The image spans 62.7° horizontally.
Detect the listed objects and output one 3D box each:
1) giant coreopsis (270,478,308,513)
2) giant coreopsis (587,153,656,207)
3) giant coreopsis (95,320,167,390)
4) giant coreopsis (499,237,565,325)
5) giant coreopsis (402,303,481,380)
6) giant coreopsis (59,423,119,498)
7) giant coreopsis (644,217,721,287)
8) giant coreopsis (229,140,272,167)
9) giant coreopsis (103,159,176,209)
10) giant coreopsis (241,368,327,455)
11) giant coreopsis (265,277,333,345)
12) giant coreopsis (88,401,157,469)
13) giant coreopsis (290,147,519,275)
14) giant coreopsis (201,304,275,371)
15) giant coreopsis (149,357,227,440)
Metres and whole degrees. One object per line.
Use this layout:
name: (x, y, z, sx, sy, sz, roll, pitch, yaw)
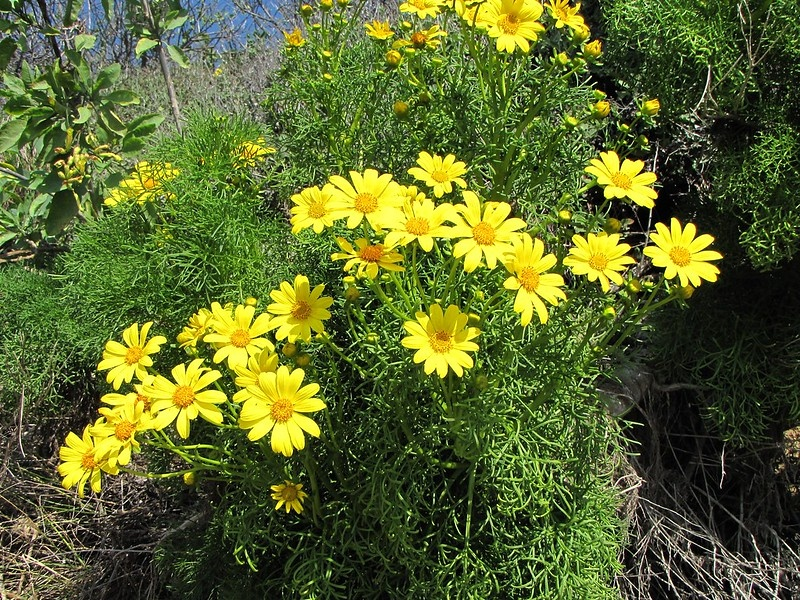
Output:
giant coreopsis: (-0.385, 0.685, 2.270, 0.121, 0.143, 0.150, -2, 24, -13)
giant coreopsis: (0.704, -0.393, 2.080, 0.276, 0.066, 0.303, 28, 16, 28)
giant coreopsis: (-0.884, 0.173, 2.169, 0.254, 0.057, 0.256, 2, 37, 31)
giant coreopsis: (0.380, -0.067, 1.904, 0.185, 0.220, 0.220, 20, 29, 33)
giant coreopsis: (0.122, 0.116, 1.898, 0.222, 0.057, 0.250, 2, 43, 12)
giant coreopsis: (-1.013, 0.528, 2.139, 0.169, 0.041, 0.173, 12, 18, -22)
giant coreopsis: (0.837, -0.143, 1.987, 0.225, 0.056, 0.241, 24, -20, -1)
giant coreopsis: (-0.609, -0.606, 2.708, 0.159, 0.107, 0.112, -7, 26, -24)
giant coreopsis: (-1.023, -0.463, 2.654, 0.218, 0.235, 0.115, -3, -30, 37)
giant coreopsis: (-0.350, 0.325, 1.960, 0.246, 0.056, 0.269, -9, 62, -22)
giant coreopsis: (-0.317, 0.057, 2.059, 0.189, 0.257, 0.169, 20, 28, 33)
giant coreopsis: (-0.866, 0.417, 2.044, 0.208, 0.217, 0.086, 42, 14, 31)
giant coreopsis: (0.006, -0.270, 2.002, 0.597, 0.417, 0.174, 0, -19, 3)
giant coreopsis: (-0.508, 0.112, 2.062, 0.202, 0.218, 0.045, 15, -4, 6)
giant coreopsis: (-0.666, 0.297, 2.031, 0.207, 0.208, 0.231, -12, 28, -32)
